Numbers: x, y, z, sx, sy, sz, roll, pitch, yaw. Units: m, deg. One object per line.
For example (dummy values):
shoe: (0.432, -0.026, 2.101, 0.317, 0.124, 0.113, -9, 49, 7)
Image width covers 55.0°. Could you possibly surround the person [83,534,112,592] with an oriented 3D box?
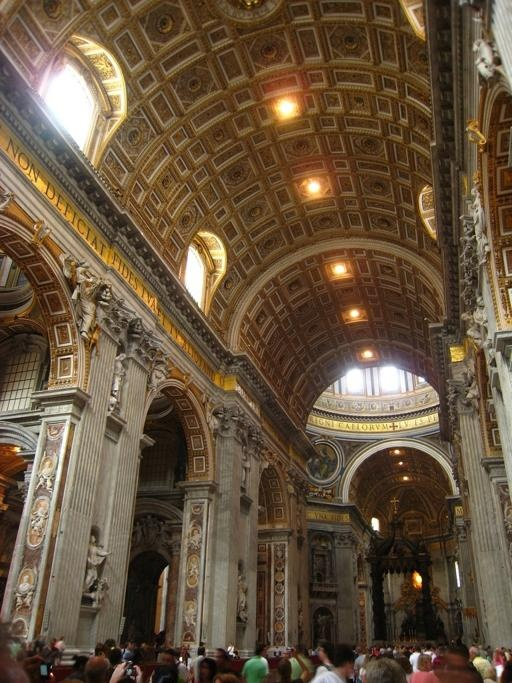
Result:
person: (-3.622, 4.990, 11.035, 0.265, 1.258, 0.571, -13, -33, 27)
